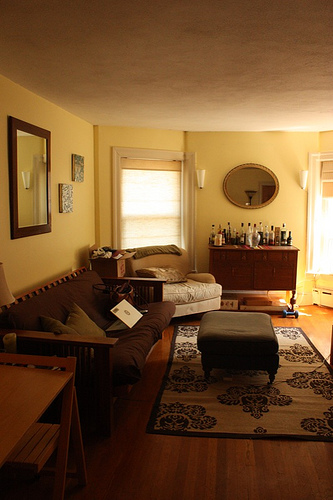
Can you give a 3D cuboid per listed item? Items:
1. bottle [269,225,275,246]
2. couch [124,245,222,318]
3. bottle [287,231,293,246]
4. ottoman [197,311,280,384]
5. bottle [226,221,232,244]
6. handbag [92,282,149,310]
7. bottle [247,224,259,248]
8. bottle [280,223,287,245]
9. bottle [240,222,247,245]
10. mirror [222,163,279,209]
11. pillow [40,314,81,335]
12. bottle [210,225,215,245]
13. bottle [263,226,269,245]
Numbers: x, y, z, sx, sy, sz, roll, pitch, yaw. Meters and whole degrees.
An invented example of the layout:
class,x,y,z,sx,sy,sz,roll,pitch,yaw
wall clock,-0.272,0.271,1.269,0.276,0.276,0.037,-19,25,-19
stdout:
class,x,y,z,sx,sy,sz,roll,pitch,yaw
bottle,1.501,-0.173,5.132,0.074,0.204,0.126,2,5,30
couch,0.074,0.435,4.520,1.173,0.851,1.072,0,6,-21
bottle,1.768,-0.168,5.163,0.078,0.201,0.306,1,5,20
ottoman,0.646,0.802,3.168,0.611,0.427,0.879,-2,8,13
bottle,0.912,-0.266,5.279,0.078,0.322,0.083,0,4,0
handbag,-0.482,0.398,3.242,0.337,0.143,0.260,13,3,4
bottle,1.219,-0.186,5.098,0.149,0.242,0.204,0,4,-1
bottle,1.686,-0.234,5.208,0.091,0.291,0.232,1,4,17
bottle,1.116,-0.251,5.248,0.099,0.318,0.173,1,4,9
mirror,1.227,-0.964,5.219,0.646,0.552,0.032,1,7,0
pillow,-0.683,0.473,2.230,0.144,0.044,0.147,24,-2,-11
bottle,0.662,-0.225,5.225,0.065,0.282,0.189,0,4,6
bottle,1.416,-0.176,5.140,0.084,0.187,0.075,1,4,14
